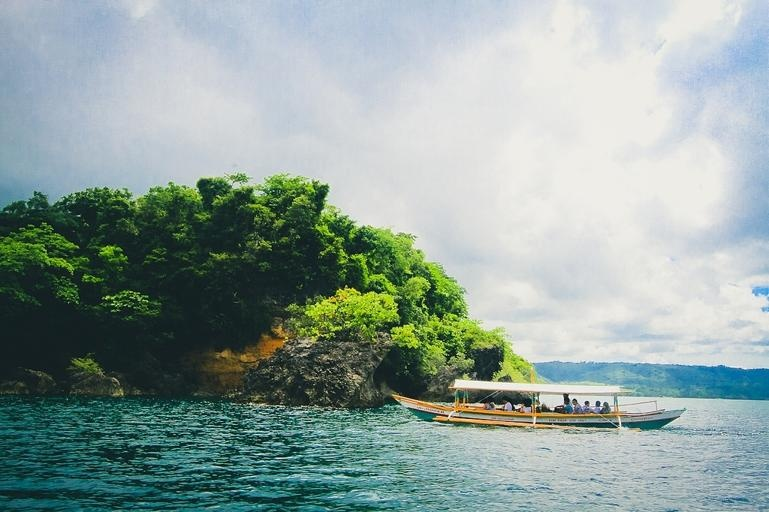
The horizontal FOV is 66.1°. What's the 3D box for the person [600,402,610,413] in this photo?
[{"bbox_3d":[25.811,17.806,69.287,1.314,1.333,0.765,-5,-11,8],"label":"person"}]
